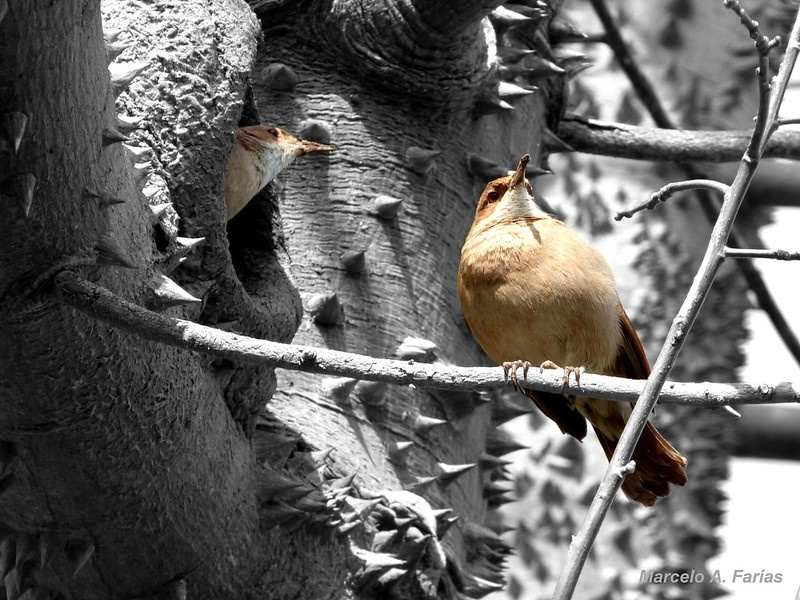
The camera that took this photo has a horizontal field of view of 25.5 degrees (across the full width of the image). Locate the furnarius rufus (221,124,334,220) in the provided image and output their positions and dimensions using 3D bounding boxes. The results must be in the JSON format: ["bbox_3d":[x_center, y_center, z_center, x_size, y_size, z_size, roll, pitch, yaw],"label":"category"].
[{"bbox_3d":[-0.438,-0.465,5.545,0.426,0.220,0.136,-9,-44,4],"label":"furnarius rufus"}]
